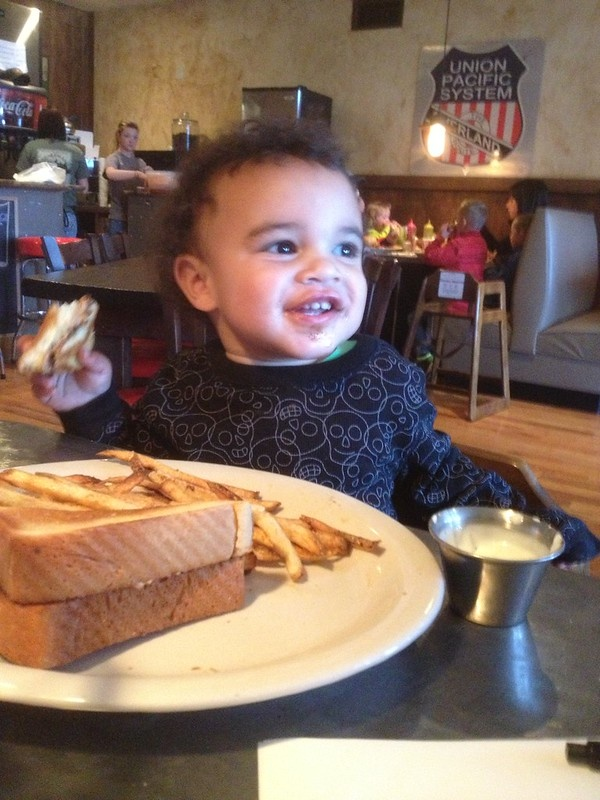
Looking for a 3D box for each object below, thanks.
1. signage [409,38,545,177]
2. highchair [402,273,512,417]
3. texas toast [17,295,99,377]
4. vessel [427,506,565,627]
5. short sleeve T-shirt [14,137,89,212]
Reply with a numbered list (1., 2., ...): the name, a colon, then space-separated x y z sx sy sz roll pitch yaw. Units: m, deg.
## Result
1. signage: 1.554 -2.646 6.074 1.180 1.063 0.019 -4 21 -12
2. highchair: 0.861 -0.295 3.586 0.605 0.775 0.451 26 41 37
3. texas toast: -0.217 -0.056 0.631 0.062 0.079 0.085 6 14 5
4. vessel: 0.128 0.115 0.475 0.108 0.058 0.099 3 14 9
5. short sleeve T-shirt: -2.003 -1.769 5.484 0.651 0.644 0.387 1 -5 -33
